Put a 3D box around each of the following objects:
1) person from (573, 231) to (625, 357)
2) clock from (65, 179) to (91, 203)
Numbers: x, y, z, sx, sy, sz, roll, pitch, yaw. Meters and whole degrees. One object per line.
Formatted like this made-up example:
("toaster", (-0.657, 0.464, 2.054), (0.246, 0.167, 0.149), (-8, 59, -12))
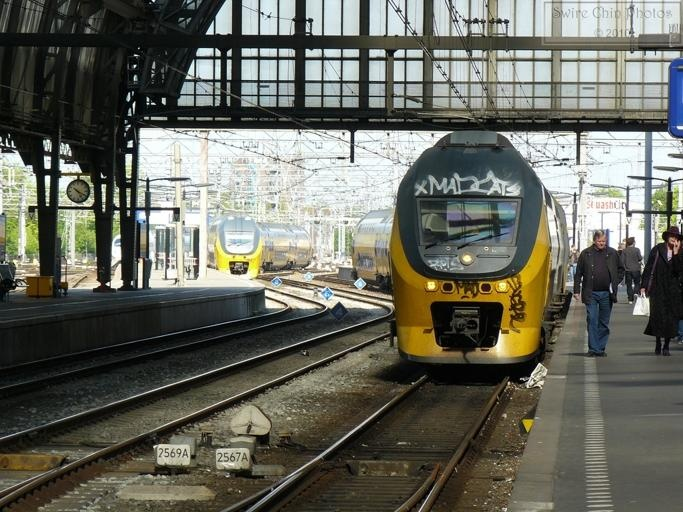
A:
("person", (4.246, 0.613, 12.442), (0.656, 1.580, 1.452), (3, 2, 28))
("clock", (-9.489, -2.413, 27.251), (0.971, 0.854, 0.215), (13, 5, 1))
